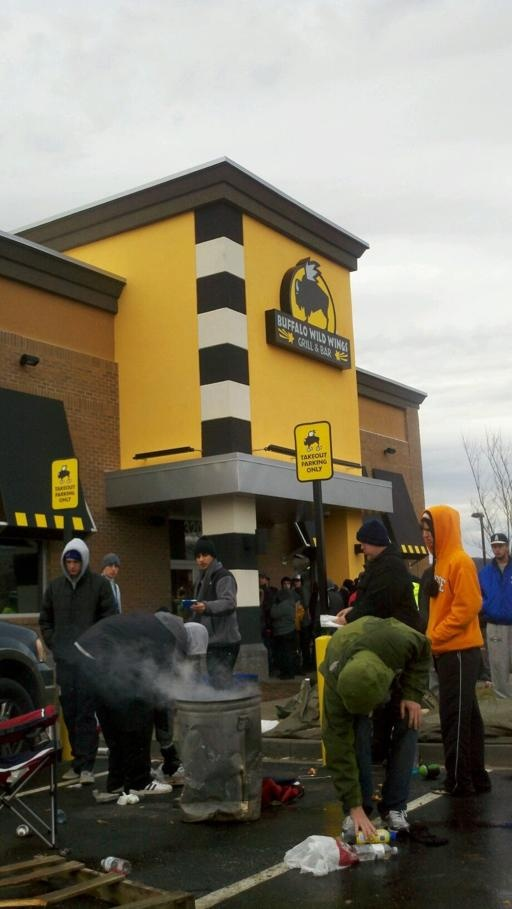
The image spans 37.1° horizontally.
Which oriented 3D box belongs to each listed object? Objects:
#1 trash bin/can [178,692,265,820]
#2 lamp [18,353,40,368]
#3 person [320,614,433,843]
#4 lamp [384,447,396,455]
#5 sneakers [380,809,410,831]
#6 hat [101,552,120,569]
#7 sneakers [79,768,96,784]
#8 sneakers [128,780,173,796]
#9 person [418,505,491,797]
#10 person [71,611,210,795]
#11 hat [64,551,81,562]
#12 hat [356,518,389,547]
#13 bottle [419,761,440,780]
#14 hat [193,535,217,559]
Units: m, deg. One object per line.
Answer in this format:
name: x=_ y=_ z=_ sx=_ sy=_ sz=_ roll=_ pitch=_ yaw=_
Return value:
trash bin/can: x=-0.213 y=1.955 z=4.845 sx=0.581 sy=0.778 sz=0.541 roll=-13 pitch=-14 yaw=38
lamp: x=-4.122 y=-1.687 z=13.887 sx=0.242 sy=0.171 sz=0.339 roll=0 pitch=-11 yaw=10
person: x=0.595 y=1.429 z=3.863 sx=0.517 sy=1.130 sz=0.904 roll=-6 pitch=-8 yaw=23
lamp: x=4.455 y=-0.100 z=25.798 sx=0.243 sy=0.155 sz=0.336 roll=0 pitch=-7 yaw=-11
sneakers: x=0.737 y=1.969 z=4.065 sx=0.067 sy=0.086 sz=0.185 roll=7 pitch=-20 yaw=-20
hat: x=-1.766 y=1.361 z=9.427 sx=0.181 sy=0.247 sz=0.240 roll=5 pitch=-8 yaw=-25
sneakers: x=-1.362 y=2.640 z=6.168 sx=0.065 sy=0.077 sz=0.182 roll=2 pitch=-27 yaw=-4
sneakers: x=-0.769 y=2.461 z=5.629 sx=0.282 sy=0.113 sz=0.106 roll=0 pitch=-10 yaw=-4
person: x=1.313 y=1.365 z=5.387 sx=0.563 sy=1.899 sz=0.532 roll=-1 pitch=-9 yaw=20
person: x=-0.871 y=1.824 z=5.400 sx=0.661 sy=1.354 sz=0.944 roll=-9 pitch=-9 yaw=40
hat: x=-1.580 y=0.904 z=6.630 sx=0.136 sy=0.112 sz=0.071 roll=-2 pitch=-7 yaw=-11
hat: x=0.782 y=0.524 z=5.063 sx=0.160 sy=0.157 sz=0.209 roll=3 pitch=-13 yaw=5
bottle: x=1.325 y=2.443 z=5.830 sx=0.133 sy=0.119 sz=0.139 roll=2 pitch=-16 yaw=-29
hat: x=-0.506 y=0.949 z=7.588 sx=0.280 sy=0.306 sz=0.321 roll=0 pitch=-10 yaw=1
